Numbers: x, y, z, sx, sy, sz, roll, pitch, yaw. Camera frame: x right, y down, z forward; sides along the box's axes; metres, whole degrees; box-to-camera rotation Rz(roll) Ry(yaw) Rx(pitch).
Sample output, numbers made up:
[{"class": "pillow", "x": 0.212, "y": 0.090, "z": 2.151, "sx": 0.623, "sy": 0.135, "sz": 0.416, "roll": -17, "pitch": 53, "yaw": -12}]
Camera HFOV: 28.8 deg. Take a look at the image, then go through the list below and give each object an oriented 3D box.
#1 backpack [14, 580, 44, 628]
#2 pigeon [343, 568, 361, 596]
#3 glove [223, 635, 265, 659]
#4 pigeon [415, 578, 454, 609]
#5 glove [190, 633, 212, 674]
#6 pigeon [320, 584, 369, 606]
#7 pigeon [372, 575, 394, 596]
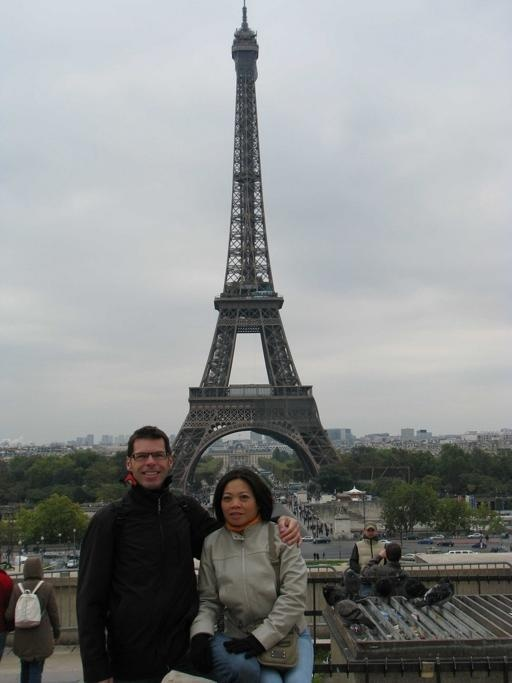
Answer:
[{"class": "backpack", "x": -2.122, "y": 2.474, "z": 9.303, "sx": 0.258, "sy": 0.440, "sz": 0.228, "roll": 1, "pitch": -9, "yaw": -13}, {"class": "pigeon", "x": 0.890, "y": 2.281, "z": 9.311, "sx": 0.143, "sy": 0.268, "sz": 0.338, "roll": -2, "pitch": -8, "yaw": 3}, {"class": "glove", "x": -0.085, "y": 2.202, "z": 7.182, "sx": 0.209, "sy": 0.058, "sz": 0.195, "roll": -5, "pitch": 23, "yaw": 1}, {"class": "pigeon", "x": 1.612, "y": 2.275, "z": 8.979, "sx": 0.298, "sy": 0.303, "sz": 0.618, "roll": -2, "pitch": -8, "yaw": 3}, {"class": "glove", "x": -0.388, "y": 2.257, "z": 7.166, "sx": 0.157, "sy": 0.290, "sz": 0.192, "roll": -1, "pitch": -8, "yaw": -1}, {"class": "pigeon", "x": 0.768, "y": 2.373, "z": 9.322, "sx": 0.351, "sy": 0.173, "sz": 0.188, "roll": -5, "pitch": -3, "yaw": 28}, {"class": "pigeon", "x": 1.208, "y": 2.317, "z": 9.360, "sx": 0.183, "sy": 0.190, "sz": 0.176, "roll": -2, "pitch": -8, "yaw": 5}]
